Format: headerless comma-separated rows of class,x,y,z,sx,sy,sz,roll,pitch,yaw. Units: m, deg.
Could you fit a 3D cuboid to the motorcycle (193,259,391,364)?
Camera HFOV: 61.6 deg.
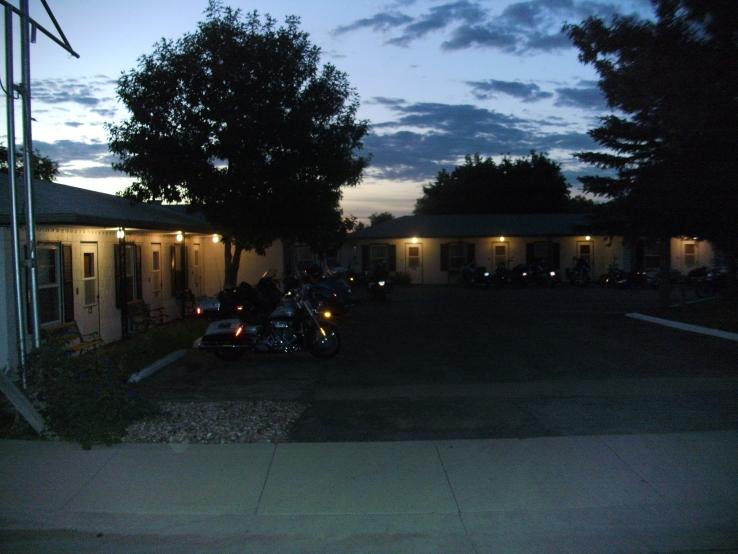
motorcycle,-1.952,0.768,12.944,2.767,1.786,1.762,-1,3,1
